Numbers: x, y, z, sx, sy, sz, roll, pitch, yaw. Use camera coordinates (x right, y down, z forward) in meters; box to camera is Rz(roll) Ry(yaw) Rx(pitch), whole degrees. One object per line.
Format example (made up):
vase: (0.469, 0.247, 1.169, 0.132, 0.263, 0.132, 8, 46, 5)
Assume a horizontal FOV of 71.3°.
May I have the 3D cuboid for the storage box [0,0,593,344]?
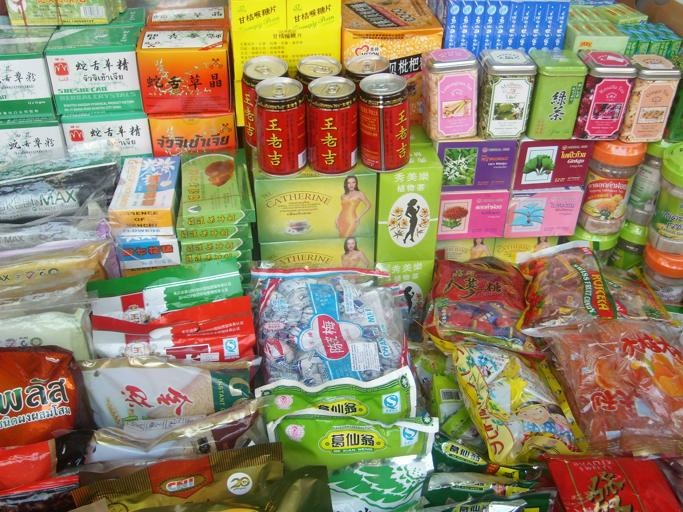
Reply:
storage box: (-0.252, -0.188, 2.735, 2.819, 1.500, 1.204, 1, 45, 1)
